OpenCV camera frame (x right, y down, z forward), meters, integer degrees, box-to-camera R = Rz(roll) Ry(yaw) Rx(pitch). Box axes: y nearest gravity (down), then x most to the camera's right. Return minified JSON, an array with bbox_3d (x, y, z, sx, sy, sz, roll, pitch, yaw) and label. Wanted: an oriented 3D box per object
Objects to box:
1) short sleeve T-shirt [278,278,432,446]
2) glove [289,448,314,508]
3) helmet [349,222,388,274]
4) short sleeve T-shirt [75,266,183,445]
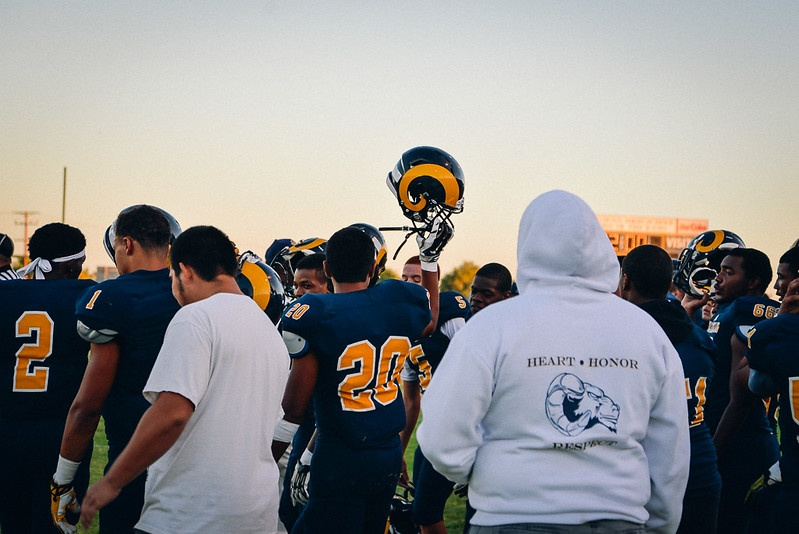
[{"bbox_3d":[-0.360,0.701,7.741,1.454,1.301,0.817,-5,-5,-25],"label":"short sleeve T-shirt"},{"bbox_3d":[-0.743,1.597,7.858,0.187,0.370,0.282,2,-11,3],"label":"glove"},{"bbox_3d":[-0.258,-0.118,8.031,0.347,0.394,0.379,11,10,10],"label":"helmet"},{"bbox_3d":[-1.997,0.602,7.680,0.583,1.181,0.946,28,26,27],"label":"short sleeve T-shirt"}]
